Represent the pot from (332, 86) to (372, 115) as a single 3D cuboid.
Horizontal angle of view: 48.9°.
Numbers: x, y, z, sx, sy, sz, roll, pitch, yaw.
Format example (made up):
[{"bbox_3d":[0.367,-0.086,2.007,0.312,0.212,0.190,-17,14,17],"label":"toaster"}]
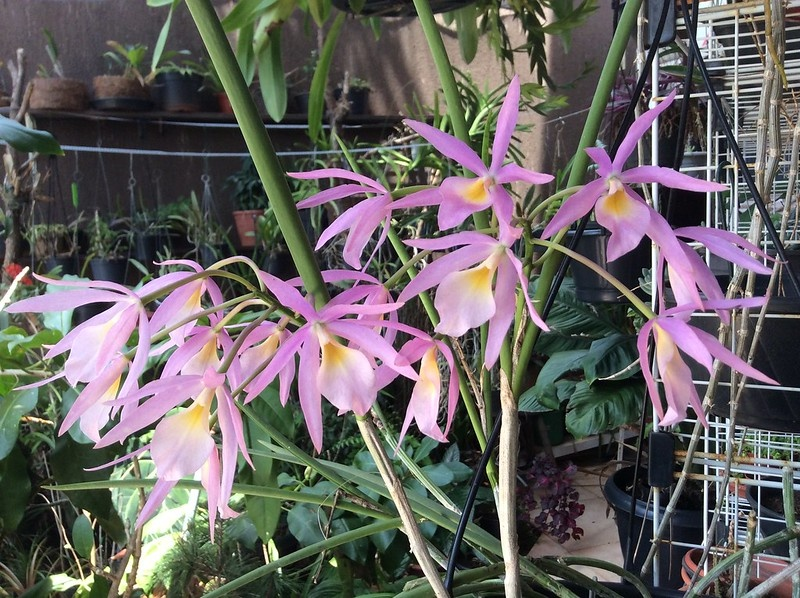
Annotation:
[{"bbox_3d":[-0.218,-0.897,3.972,0.178,0.153,0.181,-3,10,1],"label":"pot"}]
